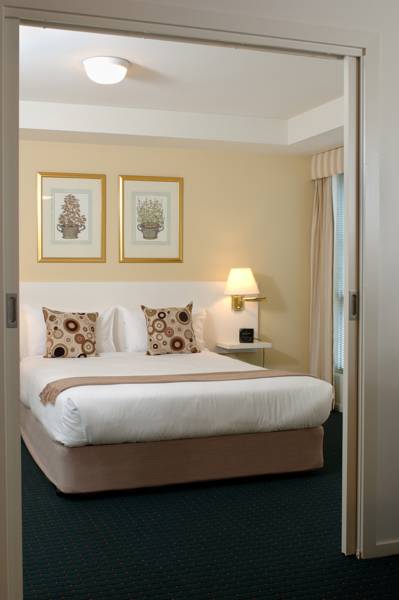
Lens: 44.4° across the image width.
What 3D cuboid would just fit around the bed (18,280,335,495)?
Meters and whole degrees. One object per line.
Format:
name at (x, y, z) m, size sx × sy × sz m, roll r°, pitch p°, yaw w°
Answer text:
bed at (-0.427, 0.661, 3.614) m, size 1.751 × 1.109 × 1.743 m, roll 0°, pitch -2°, yaw -20°

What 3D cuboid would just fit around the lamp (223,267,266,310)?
lamp at (0.442, -0.135, 5.057) m, size 0.358 × 0.434 × 0.464 m, roll -1°, pitch 3°, yaw -2°

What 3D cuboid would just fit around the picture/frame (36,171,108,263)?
picture/frame at (-1.246, -0.800, 4.650) m, size 0.820 × 1.146 × 0.046 m, roll -1°, pitch 4°, yaw -20°

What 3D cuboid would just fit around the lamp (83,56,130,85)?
lamp at (-0.630, -1.506, 3.209) m, size 0.173 × 0.074 × 0.180 m, roll 2°, pitch 5°, yaw 27°

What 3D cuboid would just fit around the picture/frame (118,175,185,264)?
picture/frame at (-0.514, -0.820, 4.890) m, size 0.854 × 1.195 × 0.055 m, roll 0°, pitch 0°, yaw -24°
